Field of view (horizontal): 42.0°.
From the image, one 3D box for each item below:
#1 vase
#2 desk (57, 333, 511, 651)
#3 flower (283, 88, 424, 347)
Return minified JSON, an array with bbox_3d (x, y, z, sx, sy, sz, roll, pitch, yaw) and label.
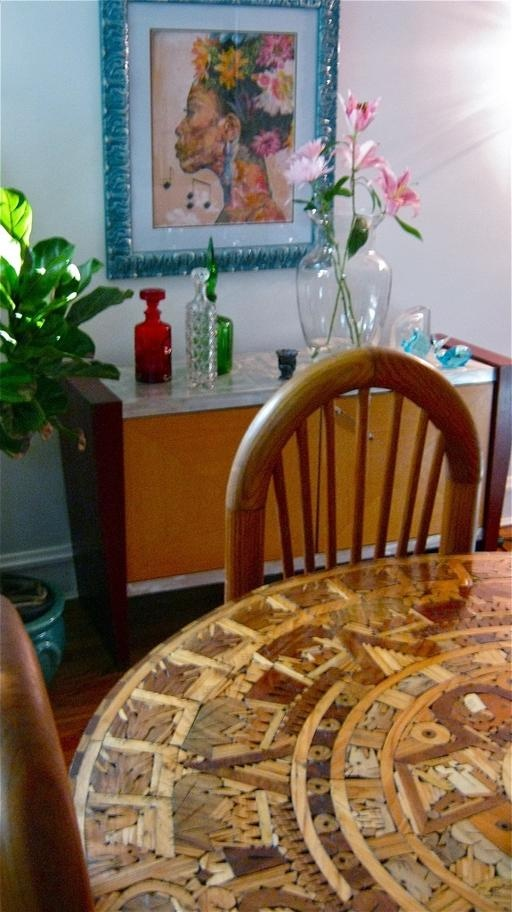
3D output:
[{"bbox_3d":[0.269,-0.536,2.024,0.284,0.456,0.261,-25,39,-29],"label":"vase"},{"bbox_3d":[-0.020,0.060,1.394,0.728,0.532,0.275,-11,24,-20],"label":"desk"},{"bbox_3d":[0.277,-0.717,2.035,0.415,0.768,0.751,3,18,10],"label":"flower"}]
